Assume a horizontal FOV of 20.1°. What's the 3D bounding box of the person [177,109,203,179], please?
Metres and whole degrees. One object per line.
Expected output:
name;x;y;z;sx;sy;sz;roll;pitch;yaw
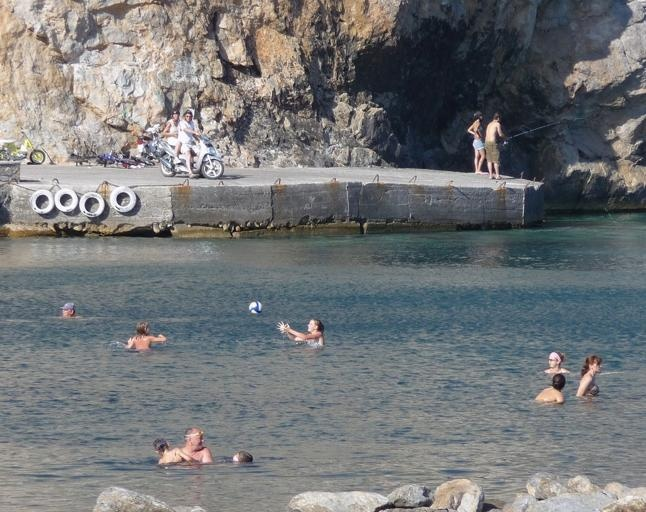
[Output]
person;-3.804;-3.088;51.346;0.573;1.846;1.389;-2;4;-4

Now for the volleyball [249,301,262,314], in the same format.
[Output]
volleyball;-1.588;1.191;42.363;0.266;0.267;0.269;-32;-31;-16

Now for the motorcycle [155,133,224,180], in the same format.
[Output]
motorcycle;-3.834;-2.760;52.024;2.015;1.210;0.784;2;-8;23

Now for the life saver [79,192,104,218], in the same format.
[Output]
life saver;-6.366;-1.348;50.022;0.690;0.693;0.277;-2;4;-9
